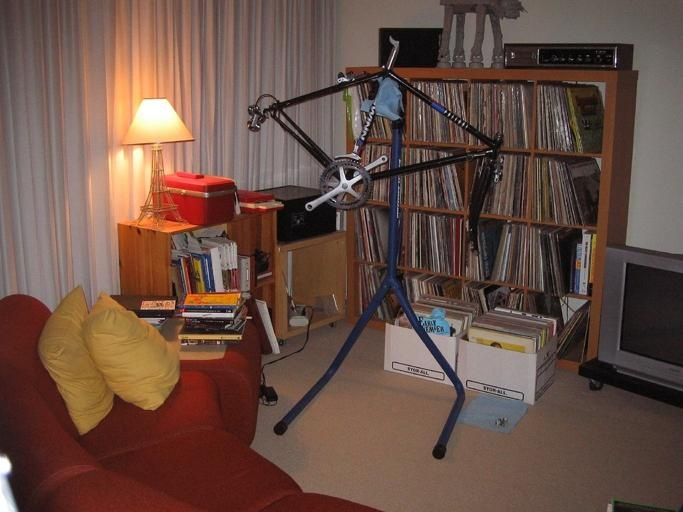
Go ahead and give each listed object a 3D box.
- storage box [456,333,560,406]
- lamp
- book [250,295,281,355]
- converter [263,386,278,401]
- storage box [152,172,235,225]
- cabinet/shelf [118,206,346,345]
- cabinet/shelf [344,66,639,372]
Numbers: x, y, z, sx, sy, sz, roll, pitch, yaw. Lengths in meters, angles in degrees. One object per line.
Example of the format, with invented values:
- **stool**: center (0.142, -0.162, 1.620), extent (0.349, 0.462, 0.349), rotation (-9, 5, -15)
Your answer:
- **storage box**: center (1.022, 0.687, 3.625), extent (0.409, 0.282, 0.427), rotation (7, 14, 31)
- **lamp**: center (-1.159, -0.628, 3.641), extent (0.382, 0.660, 0.390), rotation (1, 23, -6)
- **book**: center (-0.509, 0.465, 3.835), extent (0.050, 0.493, 0.265), rotation (-21, 23, -3)
- **converter**: center (-0.435, 0.830, 3.526), extent (0.069, 0.018, 0.068), rotation (0, 22, -12)
- **storage box**: center (-0.899, -0.355, 3.665), extent (0.435, 0.270, 0.310), rotation (11, 14, 43)
- **cabinet/shelf**: center (-0.581, 0.121, 4.073), extent (1.435, 0.936, 0.503), rotation (-6, 1, -38)
- **cabinet/shelf**: center (0.993, -0.339, 4.182), extent (1.930, 1.939, 0.704), rotation (8, 15, 29)
